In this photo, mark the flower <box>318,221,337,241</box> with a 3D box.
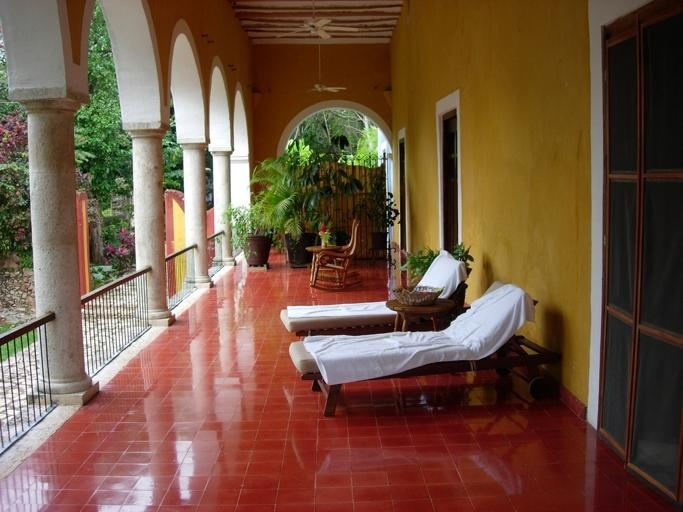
[{"bbox_3d":[-0.303,-0.549,11.885,0.412,0.500,0.417,3,-1,-30],"label":"flower"}]

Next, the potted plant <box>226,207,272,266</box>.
[{"bbox_3d":[-2.226,-0.455,13.311,1.222,1.986,1.274,-3,-3,-18],"label":"potted plant"}]

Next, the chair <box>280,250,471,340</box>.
[{"bbox_3d":[0.424,0.499,6.792,2.340,1.284,1.079,-1,4,-6],"label":"chair"}]

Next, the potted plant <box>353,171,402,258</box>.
[{"bbox_3d":[0.926,-1.207,14.401,1.183,2.369,1.530,-1,8,1],"label":"potted plant"}]

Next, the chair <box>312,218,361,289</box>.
[{"bbox_3d":[-0.163,-0.038,11.433,0.936,1.449,1.649,1,6,-2],"label":"chair"}]

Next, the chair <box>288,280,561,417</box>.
[{"bbox_3d":[0.816,0.956,5.497,2.317,1.182,1.261,-2,4,-10],"label":"chair"}]

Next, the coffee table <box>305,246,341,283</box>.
[{"bbox_3d":[-0.362,0.152,11.109,0.652,0.873,0.706,-1,9,-8],"label":"coffee table"}]

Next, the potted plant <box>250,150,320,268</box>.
[{"bbox_3d":[-1.429,-1.286,14.026,2.193,3.602,2.330,-1,-2,-8],"label":"potted plant"}]
